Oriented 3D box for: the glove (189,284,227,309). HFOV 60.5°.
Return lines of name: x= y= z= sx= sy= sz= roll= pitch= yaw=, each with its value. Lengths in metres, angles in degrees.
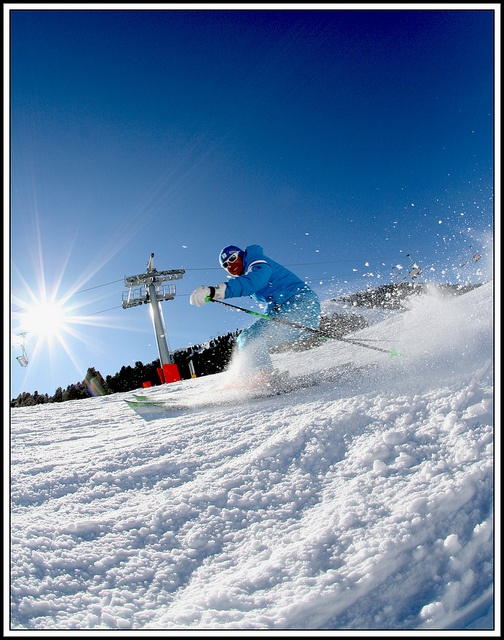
glove: x=-0.431 y=-0.249 z=4.211 sx=0.365 sy=0.216 sz=0.569 roll=-10 pitch=12 yaw=-2
